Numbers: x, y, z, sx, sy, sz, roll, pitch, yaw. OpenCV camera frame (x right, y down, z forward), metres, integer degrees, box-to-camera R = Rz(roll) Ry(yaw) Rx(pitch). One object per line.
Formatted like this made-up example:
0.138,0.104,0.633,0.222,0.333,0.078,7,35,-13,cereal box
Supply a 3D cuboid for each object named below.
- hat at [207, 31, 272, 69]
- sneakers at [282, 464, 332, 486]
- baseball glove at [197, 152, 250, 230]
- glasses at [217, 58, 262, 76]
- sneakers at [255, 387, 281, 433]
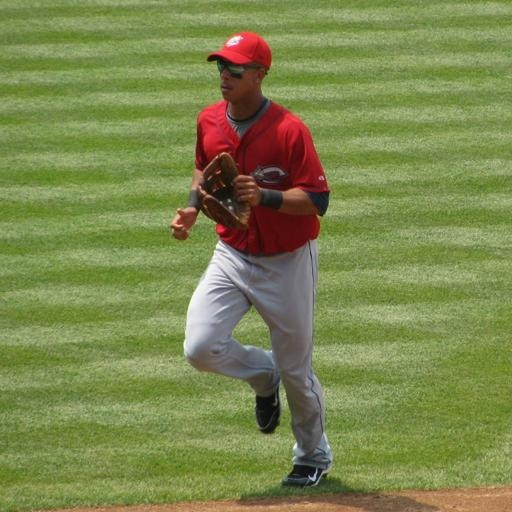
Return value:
-0.099,-1.452,9.981,0.480,0.242,0.327,-1,5,-36,hat
0.347,1.562,10.169,0.312,0.121,0.131,0,2,-45,sneakers
-0.252,-0.455,9.774,0.226,0.346,0.452,26,-24,-31,baseball glove
-0.115,-1.305,9.848,0.295,0.098,0.109,6,26,-1,glasses
0.088,1.140,10.394,0.125,0.366,0.144,-1,15,14,sneakers
